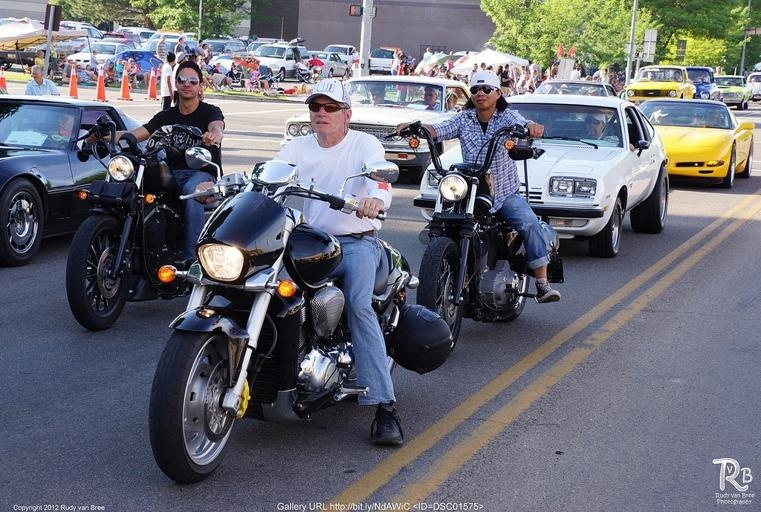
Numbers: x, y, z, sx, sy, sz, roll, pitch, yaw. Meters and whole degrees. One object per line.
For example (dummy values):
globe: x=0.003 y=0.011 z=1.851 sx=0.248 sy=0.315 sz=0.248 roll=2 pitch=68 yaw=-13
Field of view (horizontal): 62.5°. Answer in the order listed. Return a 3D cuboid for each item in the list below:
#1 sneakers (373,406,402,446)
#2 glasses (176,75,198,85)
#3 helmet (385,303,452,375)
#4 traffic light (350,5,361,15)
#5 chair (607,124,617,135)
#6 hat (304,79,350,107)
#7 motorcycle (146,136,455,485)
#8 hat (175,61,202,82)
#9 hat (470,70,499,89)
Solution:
sneakers: x=0.042 y=1.144 z=4.354 sx=0.205 sy=0.242 sz=0.534 roll=2 pitch=3 yaw=-6
glasses: x=-2.104 y=-1.905 z=6.782 sx=0.107 sy=0.040 sz=0.110 roll=0 pitch=-23 yaw=-12
helmet: x=0.288 y=0.620 z=4.896 sx=0.561 sy=0.460 sz=0.444 roll=-1 pitch=13 yaw=23
traffic light: x=-1.100 y=-10.640 z=26.980 sx=0.525 sy=0.474 sz=1.067 roll=1 pitch=14 yaw=-2
chair: x=3.743 y=-2.052 z=10.200 sx=0.123 sy=0.126 sz=0.197 roll=0 pitch=-1 yaw=34
hat: x=-0.335 y=-1.176 z=4.442 sx=0.206 sy=0.138 sz=0.284 roll=1 pitch=2 yaw=23
motorcycle: x=-0.489 y=0.340 z=3.941 sx=0.786 sy=1.873 sz=1.941 roll=12 pitch=18 yaw=36
hat: x=-2.113 y=-2.052 z=6.894 sx=0.213 sy=0.254 sz=0.116 roll=5 pitch=5 yaw=-6
hat: x=1.042 y=-1.775 z=6.281 sx=0.293 sy=0.176 sz=0.260 roll=3 pitch=14 yaw=7
